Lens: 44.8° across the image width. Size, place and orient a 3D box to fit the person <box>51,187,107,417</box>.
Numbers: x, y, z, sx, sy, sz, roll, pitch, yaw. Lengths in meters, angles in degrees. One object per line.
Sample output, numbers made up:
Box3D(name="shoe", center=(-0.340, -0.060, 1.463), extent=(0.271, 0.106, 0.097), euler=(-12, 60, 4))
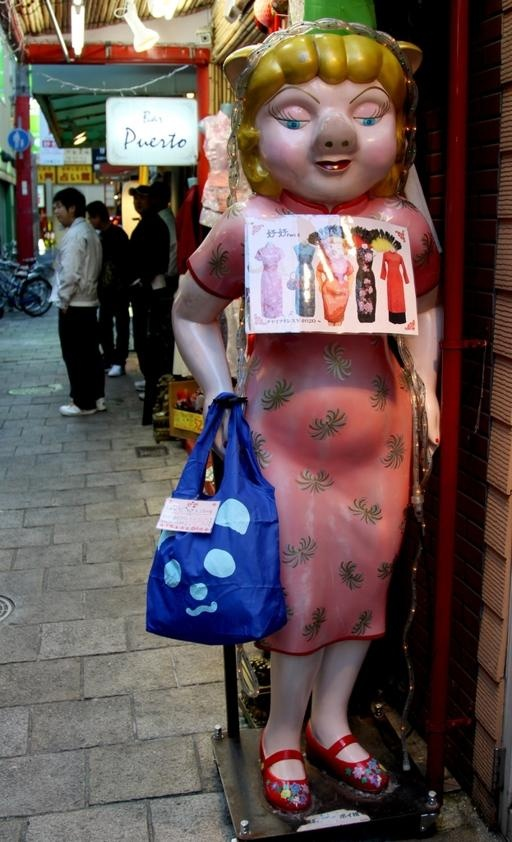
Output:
Box3D(name="person", center=(-1.805, -1.175, 6.260), extent=(0.505, 2.310, 0.742), euler=(-1, 7, -15))

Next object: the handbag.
Box3D(name="handbag", center=(-0.060, 0.194, 1.306), extent=(0.276, 0.482, 0.280), euler=(4, 8, 19))

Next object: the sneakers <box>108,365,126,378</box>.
Box3D(name="sneakers", center=(-1.938, -0.687, 8.527), extent=(0.111, 0.125, 0.306), euler=(-4, 5, 3))

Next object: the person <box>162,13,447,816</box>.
Box3D(name="person", center=(0.152, 0.052, 1.478), extent=(0.617, 1.817, 0.457), euler=(-2, 8, -23))

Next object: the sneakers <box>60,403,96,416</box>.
Box3D(name="sneakers", center=(-1.918, -0.120, 6.647), extent=(0.368, 0.160, 0.143), euler=(5, 10, -15))
